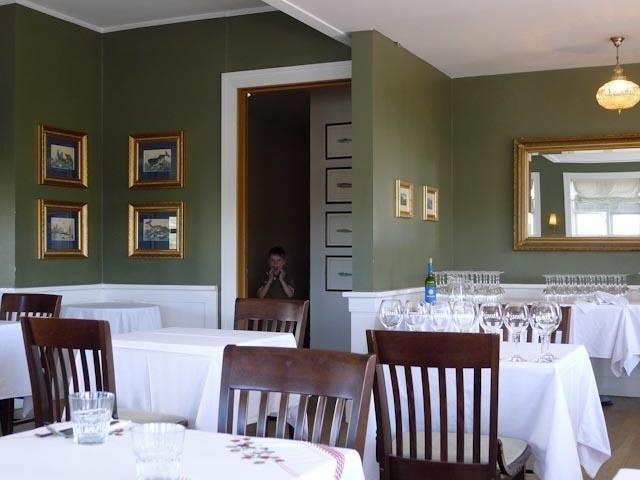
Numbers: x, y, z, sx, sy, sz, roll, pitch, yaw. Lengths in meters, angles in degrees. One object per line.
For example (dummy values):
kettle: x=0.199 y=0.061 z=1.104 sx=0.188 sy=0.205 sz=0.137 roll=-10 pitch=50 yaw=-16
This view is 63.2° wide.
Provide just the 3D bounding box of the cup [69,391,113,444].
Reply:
cup: x=-0.622 y=0.478 z=1.471 sx=0.123 sy=0.140 sz=0.119 roll=2 pitch=-1 yaw=0

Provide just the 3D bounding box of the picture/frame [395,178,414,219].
picture/frame: x=0.812 y=-0.408 z=5.035 sx=0.036 sy=0.337 sz=0.367 roll=-2 pitch=-5 yaw=28

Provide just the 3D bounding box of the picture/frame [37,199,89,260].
picture/frame: x=-2.621 y=-0.116 z=5.264 sx=0.041 sy=0.615 sz=0.572 roll=-4 pitch=-4 yaw=32

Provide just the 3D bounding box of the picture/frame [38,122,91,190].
picture/frame: x=-2.617 y=-0.856 z=5.285 sx=0.050 sy=0.703 sz=0.682 roll=-3 pitch=-5 yaw=29

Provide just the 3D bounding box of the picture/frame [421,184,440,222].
picture/frame: x=1.182 y=-0.405 z=5.605 sx=0.036 sy=0.413 sz=0.399 roll=-2 pitch=-2 yaw=29

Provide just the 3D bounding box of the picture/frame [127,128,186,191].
picture/frame: x=-1.693 y=-0.849 z=5.496 sx=0.600 sy=0.565 sz=0.044 roll=0 pitch=-1 yaw=21

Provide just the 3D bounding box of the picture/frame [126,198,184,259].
picture/frame: x=-1.716 y=-0.132 z=5.508 sx=0.569 sy=0.617 sz=0.044 roll=0 pitch=1 yaw=11
